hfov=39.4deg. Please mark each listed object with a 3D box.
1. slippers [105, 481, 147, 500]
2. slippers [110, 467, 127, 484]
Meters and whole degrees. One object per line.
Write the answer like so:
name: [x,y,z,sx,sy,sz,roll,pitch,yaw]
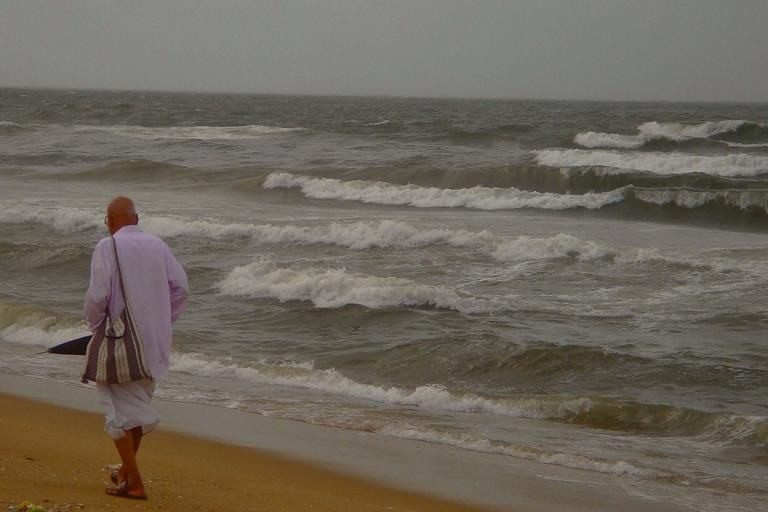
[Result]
slippers: [-2.954,2.716,12.401,0.522,0.091,0.179,6,1,1]
slippers: [-3.136,2.559,12.618,0.163,0.118,0.379,3,5,-19]
